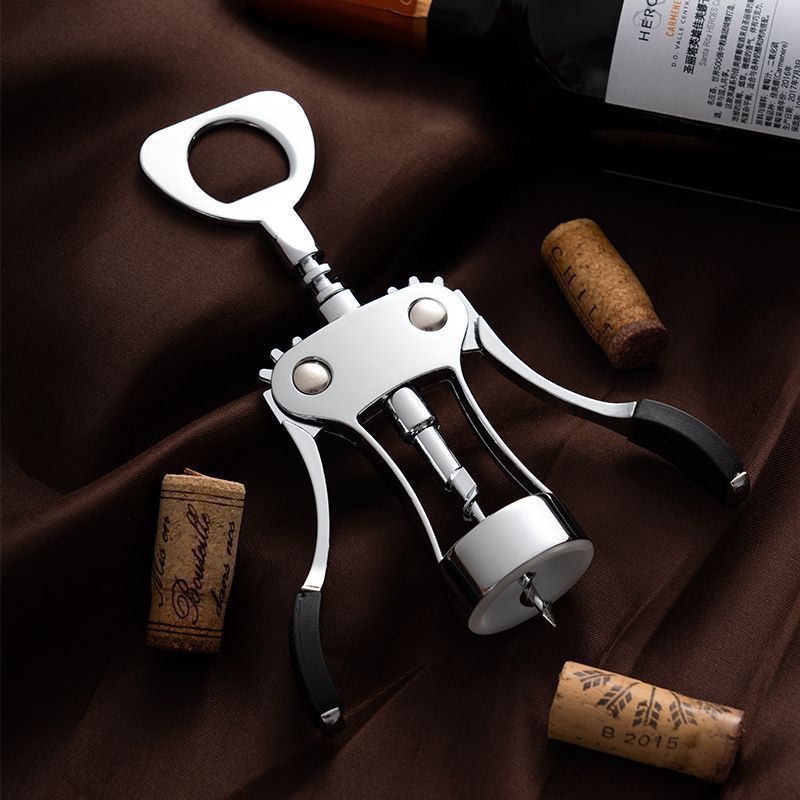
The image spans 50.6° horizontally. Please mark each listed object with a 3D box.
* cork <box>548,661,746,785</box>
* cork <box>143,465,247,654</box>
[{"bbox_3d":[0.229,0.308,0.804,0.170,0.068,0.058,12,49,10],"label":"cork"},{"bbox_3d":[-0.211,0.168,0.866,0.083,0.113,0.142,5,48,5],"label":"cork"}]
